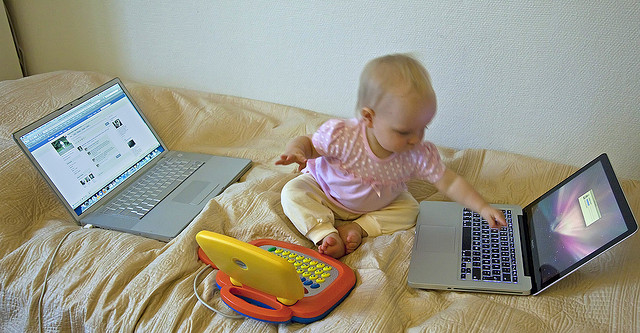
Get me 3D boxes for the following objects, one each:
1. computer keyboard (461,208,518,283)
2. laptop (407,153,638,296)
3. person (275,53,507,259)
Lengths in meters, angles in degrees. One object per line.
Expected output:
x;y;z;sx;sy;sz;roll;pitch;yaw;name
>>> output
0.628;0.264;1.489;0.200;0.022;0.295;-3;45;18;computer keyboard
0.694;0.256;1.446;0.666;0.354;0.429;9;44;-3;laptop
0.162;-0.162;1.832;0.918;0.776;0.744;22;26;37;person
